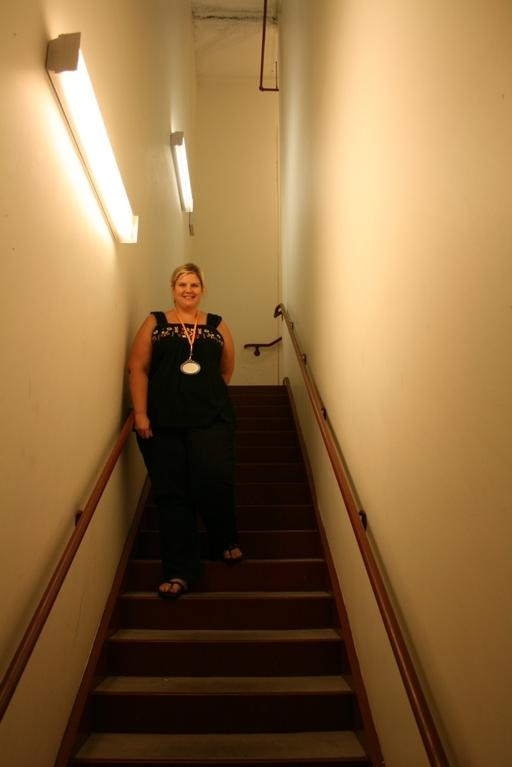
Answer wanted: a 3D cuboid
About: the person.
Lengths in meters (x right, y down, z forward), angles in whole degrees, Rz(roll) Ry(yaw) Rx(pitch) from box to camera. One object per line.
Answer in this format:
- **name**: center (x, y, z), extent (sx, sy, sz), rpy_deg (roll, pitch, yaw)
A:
- **person**: center (-0.345, 0.189, 2.365), extent (0.493, 1.245, 0.891), rpy_deg (-3, 23, -3)
